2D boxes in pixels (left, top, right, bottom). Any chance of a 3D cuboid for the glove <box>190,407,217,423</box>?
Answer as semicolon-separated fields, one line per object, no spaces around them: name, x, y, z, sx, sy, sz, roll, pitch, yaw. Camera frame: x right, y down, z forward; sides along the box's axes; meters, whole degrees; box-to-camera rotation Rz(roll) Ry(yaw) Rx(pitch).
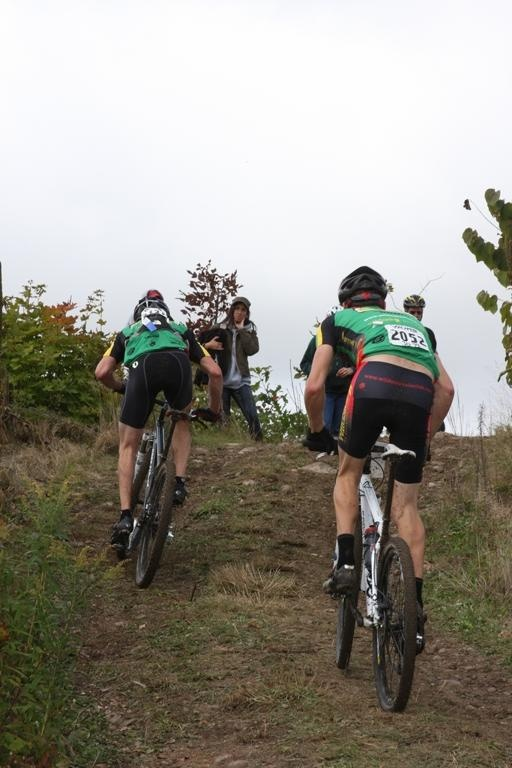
glove;-0.431;0.263;5.319;0.268;0.110;0.086;11;-46;-31

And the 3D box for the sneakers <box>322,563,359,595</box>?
sneakers;0.409;0.940;3.239;0.097;0.116;0.260;6;-7;-2

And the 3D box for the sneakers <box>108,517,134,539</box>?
sneakers;-1.035;1.124;5.076;0.111;0.193;0.088;17;16;-30

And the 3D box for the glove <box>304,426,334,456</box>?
glove;0.392;0.308;3.693;0.241;0.162;0.085;-2;10;-13

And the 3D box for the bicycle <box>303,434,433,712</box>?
bicycle;0.424;1.012;3.361;0.558;0.715;1.202;1;1;-4

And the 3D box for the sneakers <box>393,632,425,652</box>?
sneakers;0.669;1.114;2.903;0.120;0.059;0.164;6;-6;-3
